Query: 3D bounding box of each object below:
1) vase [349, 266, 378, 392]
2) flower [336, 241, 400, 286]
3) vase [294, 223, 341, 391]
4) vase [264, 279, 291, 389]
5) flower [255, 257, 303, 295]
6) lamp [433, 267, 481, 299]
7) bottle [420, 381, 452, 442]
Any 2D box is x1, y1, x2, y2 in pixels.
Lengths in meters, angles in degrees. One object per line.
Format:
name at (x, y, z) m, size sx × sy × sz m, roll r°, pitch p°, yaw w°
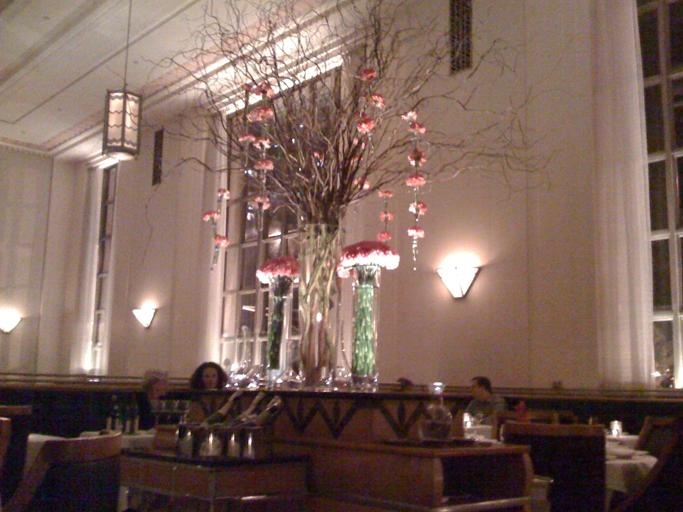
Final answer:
vase at (0.109, 0.318, 2.829) m, size 0.138 × 0.547 × 0.092 m, roll -3°, pitch -5°, yaw 5°
flower at (0.067, 0.045, 2.942) m, size 0.187 × 0.163 × 0.207 m, roll -13°, pitch -9°, yaw 14°
vase at (-0.097, 0.220, 2.932) m, size 0.204 × 0.747 × 0.122 m, roll -3°, pitch -5°, yaw -1°
vase at (-0.296, 0.352, 2.983) m, size 0.127 × 0.518 × 0.111 m, roll -3°, pitch -5°, yaw 3°
flower at (-0.303, 0.104, 3.105) m, size 0.191 × 0.196 × 0.190 m, roll 1°, pitch -3°, yaw -18°
lamp at (1.139, 0.253, 5.987) m, size 0.107 × 0.328 × 0.470 m, roll 2°, pitch -7°, yaw -40°
bottle at (0.353, 0.585, 2.322) m, size 0.141 × 0.180 × 0.143 m, roll 4°, pitch -6°, yaw 0°
